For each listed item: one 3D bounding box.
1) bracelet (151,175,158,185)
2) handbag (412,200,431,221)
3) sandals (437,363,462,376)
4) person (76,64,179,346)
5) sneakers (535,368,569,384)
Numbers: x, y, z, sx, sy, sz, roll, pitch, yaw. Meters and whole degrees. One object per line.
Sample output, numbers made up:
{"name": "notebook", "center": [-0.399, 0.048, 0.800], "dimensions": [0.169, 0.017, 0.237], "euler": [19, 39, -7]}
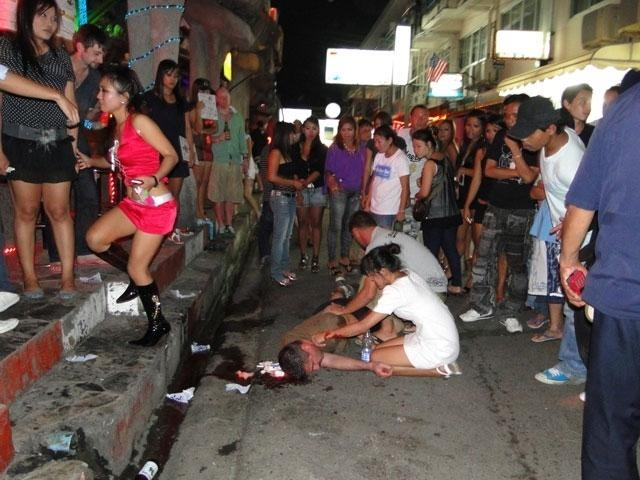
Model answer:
{"name": "bracelet", "center": [-1.339, -0.491, 3.957], "dimensions": [0.062, 0.063, 0.066], "euler": [7, 13, 6]}
{"name": "handbag", "center": [1.282, -0.387, 6.172], "dimensions": [0.091, 0.247, 0.183], "euler": [4, -6, -29]}
{"name": "sandals", "center": [1.185, 1.175, 4.438], "dimensions": [0.208, 0.076, 0.111], "euler": [-6, 47, 0]}
{"name": "person", "center": [-1.578, -0.274, 4.079], "dimensions": [0.638, 2.292, 0.484], "euler": [6, 14, 20]}
{"name": "sneakers", "center": [2.093, 1.227, 4.412], "dimensions": [0.310, 0.117, 0.112], "euler": [1, 0, 7]}
